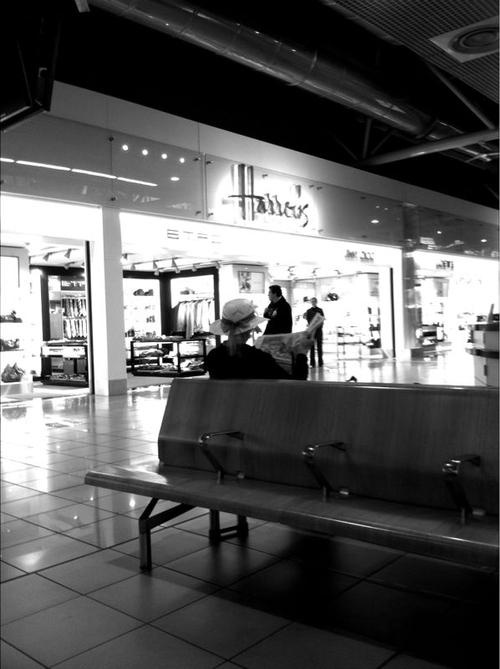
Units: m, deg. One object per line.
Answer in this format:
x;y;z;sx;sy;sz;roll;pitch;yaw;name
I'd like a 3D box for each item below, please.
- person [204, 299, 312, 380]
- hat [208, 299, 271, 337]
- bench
0.042;0.025;2.816;0.411;0.387;0.765;-3;0;22;person
-0.037;-0.092;2.743;0.196;0.107;0.207;1;23;29;hat
0.157;0.404;1.972;1.537;0.691;0.477;-2;0;41;bench
